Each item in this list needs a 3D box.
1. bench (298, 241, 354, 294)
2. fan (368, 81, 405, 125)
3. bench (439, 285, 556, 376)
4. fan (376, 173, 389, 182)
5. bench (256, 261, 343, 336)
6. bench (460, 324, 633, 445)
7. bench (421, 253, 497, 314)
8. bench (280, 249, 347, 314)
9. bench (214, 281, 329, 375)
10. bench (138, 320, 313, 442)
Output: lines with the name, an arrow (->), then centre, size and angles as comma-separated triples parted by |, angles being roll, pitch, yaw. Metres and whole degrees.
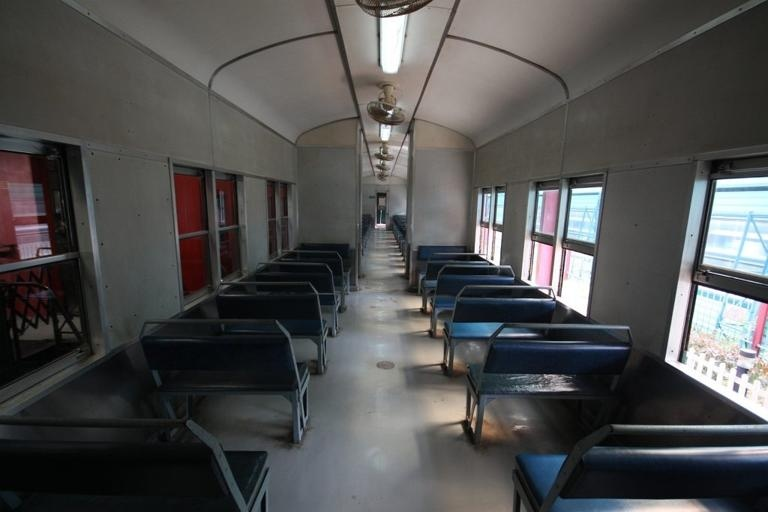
bench -> -1.008, 0.352, 9.053 | 1.161, 1.066, 0.825 | 1, 16, 0
fan -> 0.059, -2.144, 6.709 | 0.577, 0.533, 0.581 | 4, 7, 21
bench -> 1.243, 0.790, 5.071 | 0.982, 0.814, 0.404 | -1, 25, -4
fan -> -0.090, -3.410, 20.288 | 0.403, 0.447, 1.113 | 0, 5, -1
bench -> -1.075, 0.524, 5.893 | 0.963, 0.643, 0.362 | 4, 20, 6
bench -> 1.548, 1.236, 4.411 | 1.075, 1.004, 0.608 | -1, 21, -1
bench -> 1.047, 0.395, 6.583 | 0.965, 0.642, 0.363 | 0, 22, -8
bench -> -0.983, 0.366, 6.591 | 0.974, 0.672, 0.372 | 3, 22, 6
bench -> -1.227, 0.833, 5.655 | 1.317, 0.926, 0.772 | -1, -4, 21
bench -> -1.437, 1.149, 4.470 | 1.309, 1.187, 0.881 | -1, 0, 2
